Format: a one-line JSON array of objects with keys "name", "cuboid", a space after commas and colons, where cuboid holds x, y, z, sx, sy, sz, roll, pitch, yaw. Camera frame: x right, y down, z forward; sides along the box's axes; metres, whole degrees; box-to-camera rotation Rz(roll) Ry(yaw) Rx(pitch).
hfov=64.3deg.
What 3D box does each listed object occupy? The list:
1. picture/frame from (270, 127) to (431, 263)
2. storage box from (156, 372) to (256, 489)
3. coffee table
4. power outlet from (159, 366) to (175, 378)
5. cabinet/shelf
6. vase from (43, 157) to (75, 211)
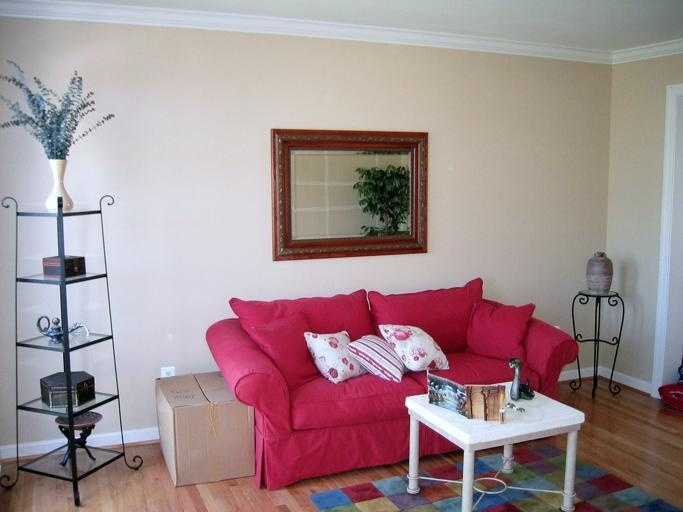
[{"name": "picture/frame", "cuboid": [0.022, -0.554, 4.734, 1.186, 0.947, 0.071, -1, 8, -17]}, {"name": "storage box", "cuboid": [-0.987, 1.269, 3.963, 0.654, 0.669, 0.548, -1, -32, -22]}, {"name": "coffee table", "cuboid": [1.001, 1.289, 3.650, 1.056, 0.743, 0.715, -3, 4, -19]}, {"name": "power outlet", "cuboid": [-1.403, 0.943, 4.392, 0.093, 0.092, 0.034, 9, -7, -19]}, {"name": "cabinet/shelf", "cuboid": [-1.996, 0.603, 3.947, 0.918, 2.090, 0.813, 0, 5, 28]}, {"name": "vase", "cuboid": [-1.976, -0.490, 3.790, 0.161, 0.369, 0.248, -4, 5, -28]}]
